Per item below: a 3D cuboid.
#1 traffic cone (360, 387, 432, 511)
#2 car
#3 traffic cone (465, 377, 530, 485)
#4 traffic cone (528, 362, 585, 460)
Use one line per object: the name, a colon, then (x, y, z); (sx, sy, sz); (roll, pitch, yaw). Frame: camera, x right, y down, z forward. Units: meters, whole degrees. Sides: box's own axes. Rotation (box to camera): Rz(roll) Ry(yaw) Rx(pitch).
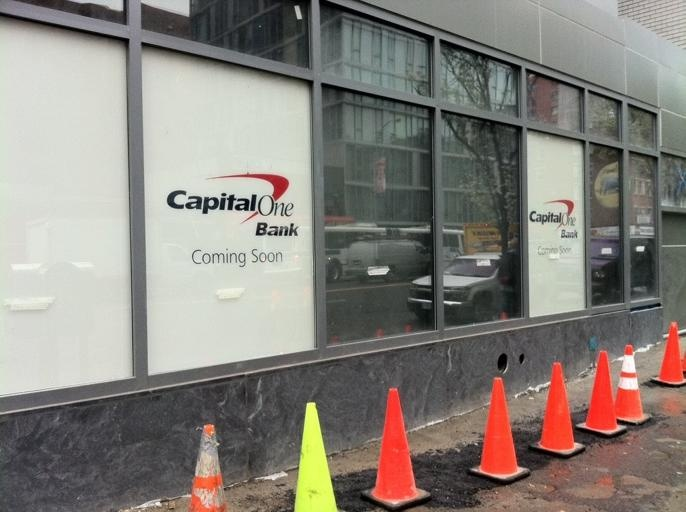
traffic cone: (0.506, 1.745, 5.785); (0.619, 1.058, 0.491); (2, 9, 9)
car: (1.669, 0.374, 8.220); (0.730, 0.774, 1.576); (1, -1, 40)
traffic cone: (1.612, 1.704, 6.258); (0.543, 0.985, 0.488); (6, 11, 34)
traffic cone: (2.402, 1.602, 6.837); (0.519, 1.010, 0.664); (4, 10, 24)
